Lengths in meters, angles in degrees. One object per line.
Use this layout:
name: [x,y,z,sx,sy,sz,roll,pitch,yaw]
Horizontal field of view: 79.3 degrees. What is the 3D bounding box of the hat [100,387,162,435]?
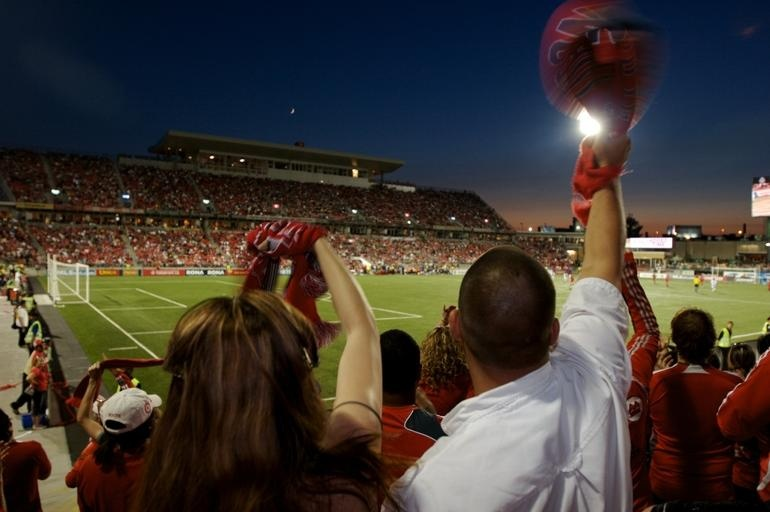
hat: [-1.687,1.051,3.147,0.251,0.135,0.357,11,16,11]
